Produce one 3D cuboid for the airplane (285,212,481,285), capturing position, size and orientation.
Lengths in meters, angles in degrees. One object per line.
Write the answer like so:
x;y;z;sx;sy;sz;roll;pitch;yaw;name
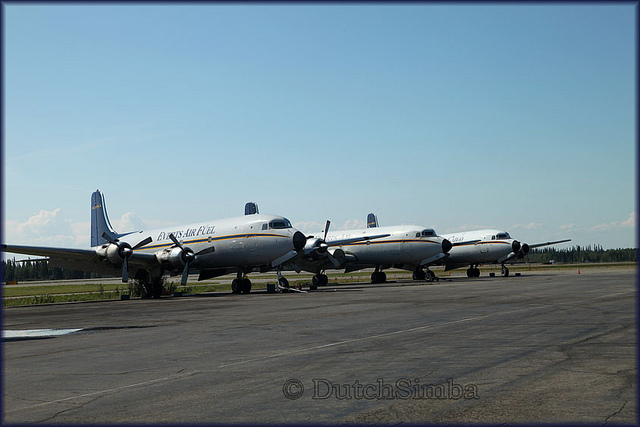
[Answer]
1.812;3.791;53.005;15.430;5.749;11.604;0;-5;-37;airplane
